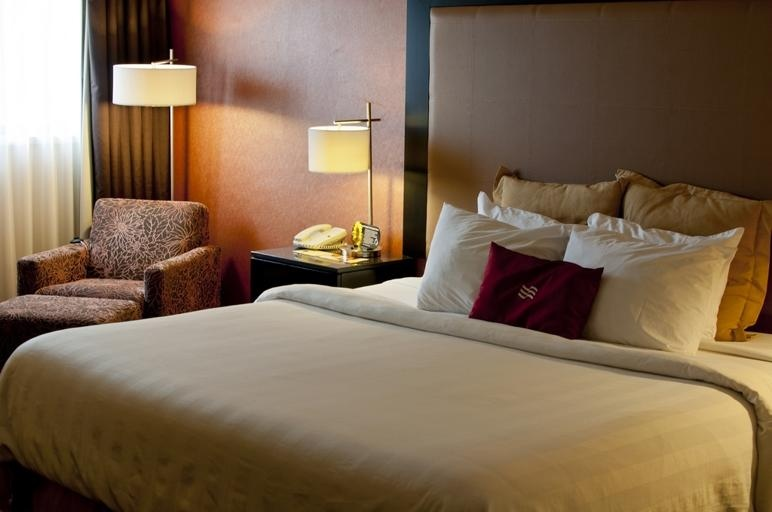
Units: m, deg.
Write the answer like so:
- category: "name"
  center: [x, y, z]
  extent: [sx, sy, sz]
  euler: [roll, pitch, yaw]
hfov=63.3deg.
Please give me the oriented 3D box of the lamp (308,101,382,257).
- category: "lamp"
  center: [-0.243, -0.559, 4.307]
  extent: [0.457, 0.997, 0.342]
  euler: [0, 25, -1]

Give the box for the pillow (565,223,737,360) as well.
- category: "pillow"
  center: [1.188, 0.151, 2.794]
  extent: [0.564, 0.603, 0.178]
  euler: [7, -13, 29]

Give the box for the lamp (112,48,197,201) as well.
- category: "lamp"
  center: [-1.852, -1.036, 5.141]
  extent: [0.662, 1.260, 0.910]
  euler: [-4, 16, -23]

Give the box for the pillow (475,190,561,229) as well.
- category: "pillow"
  center: [0.710, -0.227, 3.520]
  extent: [0.263, 0.237, 0.081]
  euler: [25, -20, 24]

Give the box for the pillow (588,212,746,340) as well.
- category: "pillow"
  center: [1.432, 0.179, 3.143]
  extent: [0.219, 0.569, 0.730]
  euler: [25, -7, -37]

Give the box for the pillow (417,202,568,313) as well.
- category: "pillow"
  center: [0.531, 0.090, 3.329]
  extent: [0.178, 0.582, 0.583]
  euler: [26, -8, -31]

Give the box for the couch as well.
- category: "couch"
  center: [-1.944, 0.170, 4.691]
  extent: [1.213, 1.088, 0.992]
  euler: [2, 10, 2]
